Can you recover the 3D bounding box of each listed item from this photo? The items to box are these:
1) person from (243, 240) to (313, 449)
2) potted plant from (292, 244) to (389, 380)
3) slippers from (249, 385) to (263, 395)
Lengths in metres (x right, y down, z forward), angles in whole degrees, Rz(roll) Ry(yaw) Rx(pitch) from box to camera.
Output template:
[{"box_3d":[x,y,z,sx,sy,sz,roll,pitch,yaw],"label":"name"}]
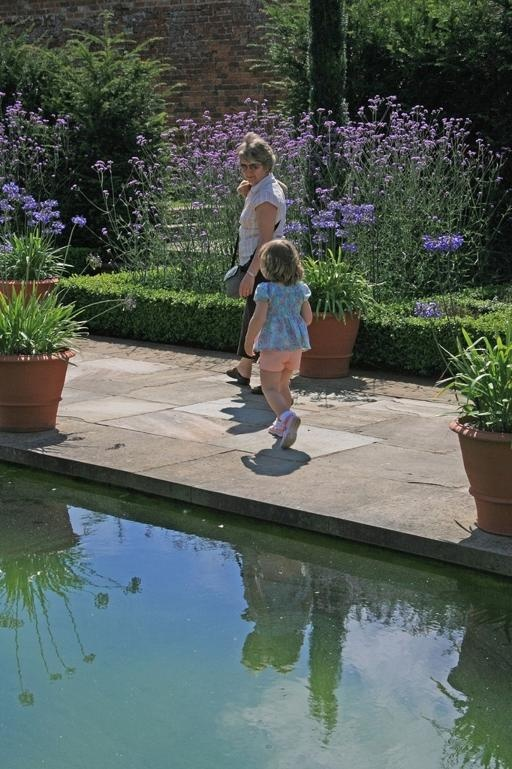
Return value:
[{"box_3d":[0.114,-0.255,3.881,0.402,1.167,0.636,0,6,3],"label":"person"},{"box_3d":[0.638,-0.583,5.736,0.836,0.981,0.988,0,7,-7],"label":"potted plant"},{"box_3d":[-0.006,0.048,4.947,0.073,0.069,0.168,1,-2,-3],"label":"slippers"}]
